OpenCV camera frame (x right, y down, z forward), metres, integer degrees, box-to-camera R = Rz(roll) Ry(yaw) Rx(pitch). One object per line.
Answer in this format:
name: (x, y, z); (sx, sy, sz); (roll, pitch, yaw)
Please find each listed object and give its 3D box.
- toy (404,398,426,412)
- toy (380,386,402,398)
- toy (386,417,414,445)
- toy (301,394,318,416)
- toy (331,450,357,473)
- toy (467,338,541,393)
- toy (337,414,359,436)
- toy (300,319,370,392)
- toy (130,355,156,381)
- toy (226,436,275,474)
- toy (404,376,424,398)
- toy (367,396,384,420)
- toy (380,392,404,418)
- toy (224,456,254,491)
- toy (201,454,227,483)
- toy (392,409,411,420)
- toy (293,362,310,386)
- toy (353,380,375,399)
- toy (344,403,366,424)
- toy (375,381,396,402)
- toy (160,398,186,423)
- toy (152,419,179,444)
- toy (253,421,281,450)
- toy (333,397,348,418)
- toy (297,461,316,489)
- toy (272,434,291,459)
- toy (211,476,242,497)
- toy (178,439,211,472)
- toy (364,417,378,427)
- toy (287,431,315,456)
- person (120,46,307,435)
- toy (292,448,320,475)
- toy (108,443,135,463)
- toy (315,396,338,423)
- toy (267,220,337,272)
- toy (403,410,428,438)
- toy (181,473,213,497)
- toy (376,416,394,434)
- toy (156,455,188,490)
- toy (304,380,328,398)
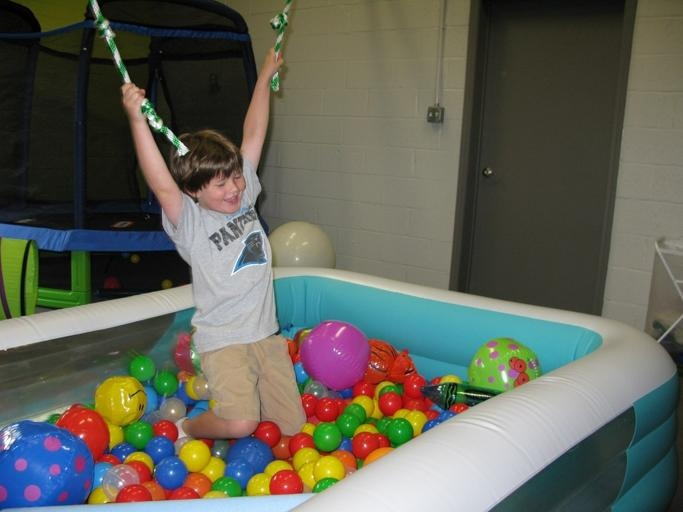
toy: (0.292, 0.608, 1.991); (0.052, 0.049, 0.047); (-18, -23, 28)
toy: (0.214, 0.573, 2.072); (0.050, 0.062, 0.053); (14, 43, -21)
toy: (0.210, 0.640, 1.774); (0.103, 0.099, 0.091); (4, 13, 8)
toy: (-0.128, 0.597, 1.969); (0.066, 0.087, 0.070); (-4, 7, 0)
toy: (0.006, 0.678, 1.623); (0.064, 0.083, 0.070); (0, 40, -9)
toy: (0.604, 0.420, 1.808); (0.257, 0.183, 0.162); (6, 13, 17)
toy: (0.023, 0.641, 1.852); (0.070, 0.092, 0.075); (-3, 7, 0)
toy: (-0.030, 0.451, 2.165); (0.295, 0.373, 0.293); (-2, -3, -37)
toy: (-0.773, 0.447, 1.949); (0.089, 0.102, 0.112); (4, -14, -16)
toy: (-0.303, 0.641, 1.659); (0.117, 0.115, 0.108); (8, 15, -13)
toy: (0.300, 0.540, 2.015); (0.064, 0.080, 0.064); (-1, 25, -39)
toy: (0.140, 0.632, 2.027); (0.062, 0.082, 0.069); (-15, -14, -4)
toy: (0.198, 0.599, 1.980); (0.080, 0.100, 0.091); (-1, 54, -15)
toy: (-0.326, 0.689, 1.565); (0.074, 0.085, 0.095); (-3, 27, 2)
toy: (-0.420, 0.709, 1.625); (0.060, 0.075, 0.062); (25, 14, -13)
toy: (0.233, 0.617, 1.906); (0.038, 0.029, 0.048); (-17, 2, 5)
toy: (-0.181, 0.528, 2.233); (0.079, 0.105, 0.084); (-15, 8, 1)
toy: (0.092, 0.579, 2.147); (0.068, 0.074, 0.082); (0, -25, -32)
toy: (0.049, 0.616, 1.935); (0.065, 0.070, 0.078); (19, -40, -26)
toy: (0.192, 0.575, 2.102); (0.065, 0.085, 0.071); (3, 42, -1)
toy: (-0.652, 0.596, 1.896); (0.076, 0.095, 0.080); (10, 39, -20)
toy: (-0.634, 0.631, 1.770); (0.068, 0.069, 0.082); (0, 52, -53)
toy: (-0.276, 0.650, 1.818); (0.079, 0.090, 0.103); (-7, -33, -15)
toy: (-0.001, 0.621, 2.004); (0.054, 0.070, 0.057); (6, 12, -10)
toy: (-0.102, 0.691, 1.556); (0.061, 0.080, 0.065); (-1, 5, 3)
toy: (-0.218, 0.712, 1.810); (0.068, 0.091, 0.073); (1, 4, 3)
toy: (-0.340, 0.695, 1.474); (0.071, 0.068, 0.067); (-8, -35, 17)
toy: (-0.480, 0.655, 1.623); (0.084, 0.110, 0.090); (5, 12, 1)
toy: (0.119, 0.653, 1.925); (0.034, 0.046, 0.036); (1, 8, -15)
toy: (-0.145, 0.667, 1.756); (0.074, 0.080, 0.091); (5, -30, -19)
person: (-0.461, -0.063, 1.815); (0.584, 1.442, 0.592); (-4, 14, -25)
toy: (-0.116, 0.679, 1.659); (0.068, 0.081, 0.070); (29, 28, -21)
toy: (-0.738, 0.661, 1.651); (0.059, 0.057, 0.053); (-3, 3, -4)
toy: (-0.054, 0.613, 1.929); (0.091, 0.094, 0.054); (2, 13, -2)
toy: (-0.254, -0.118, 3.082); (0.298, 0.339, 0.366); (8, 9, 0)
toy: (0.281, 0.618, 1.847); (0.072, 0.094, 0.077); (-14, 12, -4)
toy: (-0.439, 0.692, 1.482); (0.055, 0.072, 0.058); (-11, -2, 6)
toy: (0.164, 0.637, 1.834); (0.052, 0.069, 0.056); (0, 4, -1)
toy: (-0.520, 0.675, 1.529); (0.081, 0.089, 0.101); (2, -32, -15)
toy: (-0.108, 0.557, 2.082); (0.076, 0.072, 0.067); (15, 1, 41)
